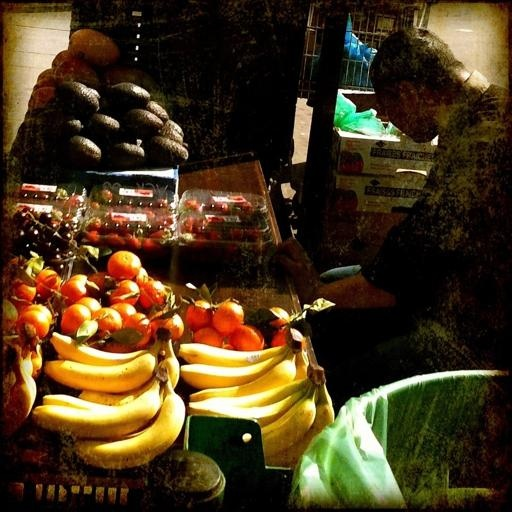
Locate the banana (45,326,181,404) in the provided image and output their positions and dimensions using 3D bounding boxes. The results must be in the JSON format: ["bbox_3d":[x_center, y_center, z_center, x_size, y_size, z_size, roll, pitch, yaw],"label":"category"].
[{"bbox_3d":[-0.378,0.258,1.220,0.266,0.182,0.094,6,-9,-9],"label":"banana"}]

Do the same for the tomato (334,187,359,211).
[{"bbox_3d":[0.704,-0.428,3.892,0.145,0.163,0.152,19,10,31],"label":"tomato"}]

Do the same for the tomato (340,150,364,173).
[{"bbox_3d":[0.706,-0.703,3.715,0.148,0.169,0.151,2,14,6],"label":"tomato"}]

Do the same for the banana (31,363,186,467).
[{"bbox_3d":[-0.316,0.331,1.063,0.315,0.144,0.170,7,15,1],"label":"banana"}]

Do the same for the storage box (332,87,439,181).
[{"bbox_3d":[0.859,-0.772,3.567,0.770,0.795,0.773,-6,27,-5],"label":"storage box"}]
